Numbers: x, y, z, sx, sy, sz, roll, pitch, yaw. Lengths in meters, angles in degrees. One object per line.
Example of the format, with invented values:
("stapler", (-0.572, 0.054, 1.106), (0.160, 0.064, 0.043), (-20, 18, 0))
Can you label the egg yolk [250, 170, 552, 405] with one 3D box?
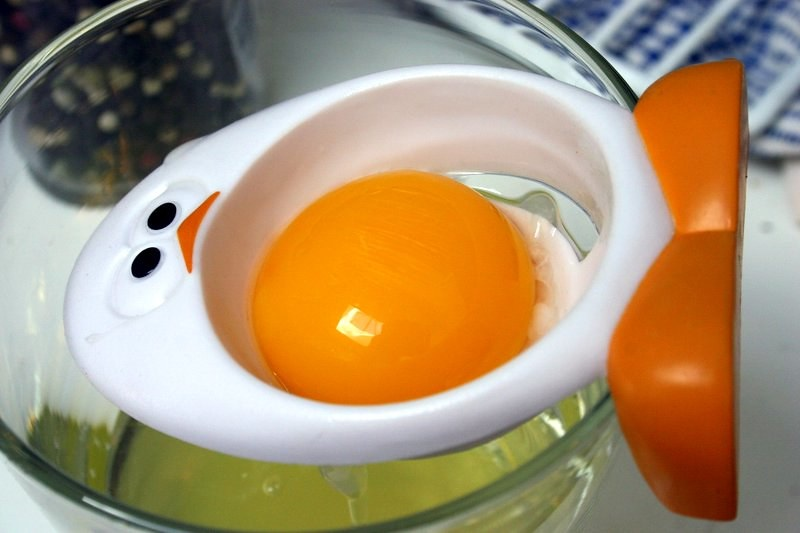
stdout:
("egg yolk", (-0.005, -0.014, 0.781), (0.278, 0.084, 0.287), (0, 52, -3))

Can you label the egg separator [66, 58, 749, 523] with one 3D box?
("egg separator", (0.010, 0.015, 0.793), (0.629, 0.190, 0.464), (-6, 50, 11))
